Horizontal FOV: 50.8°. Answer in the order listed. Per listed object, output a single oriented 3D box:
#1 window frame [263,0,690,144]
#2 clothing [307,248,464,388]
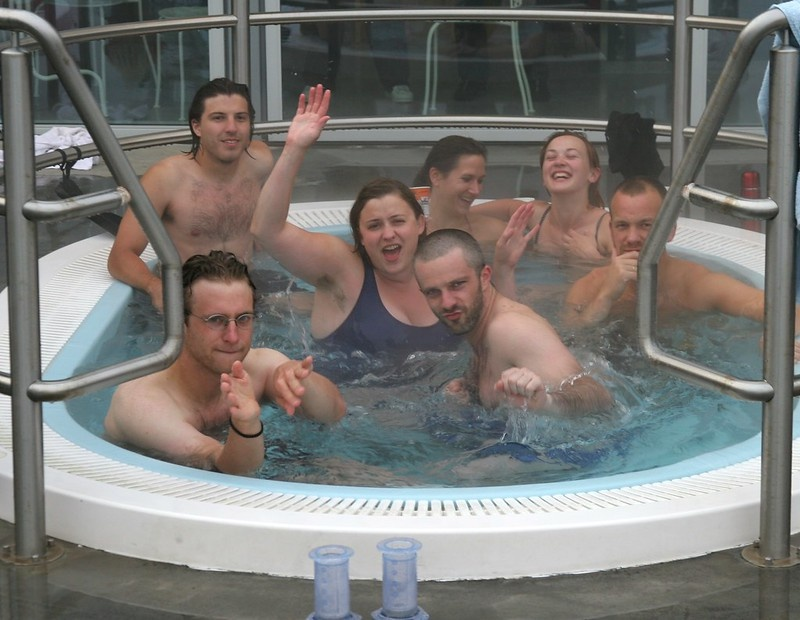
[{"bbox_3d":[0.612,-1.858,6.398,2.779,1.354,0.093,0,10,0],"label":"window frame"},{"bbox_3d":[-0.052,0.028,3.199,0.529,0.200,0.535,9,24,29],"label":"clothing"}]
